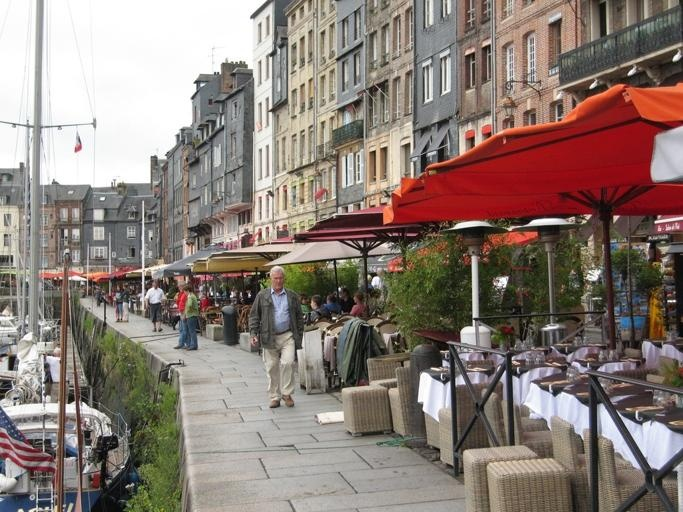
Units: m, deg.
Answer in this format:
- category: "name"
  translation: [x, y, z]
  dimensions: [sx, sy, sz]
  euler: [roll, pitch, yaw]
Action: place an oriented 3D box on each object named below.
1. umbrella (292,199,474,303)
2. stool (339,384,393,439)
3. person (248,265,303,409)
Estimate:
- category: "umbrella"
  translation: [0.041, -0.361, 17.668]
  dimensions: [2.186, 0.962, 2.367]
  euler: [-6, 4, 22]
- category: "stool"
  translation: [0.343, 2.154, 12.945]
  dimensions: [0.730, 0.709, 0.614]
  euler: [-1, 2, -19]
- category: "person"
  translation: [-1.028, 1.344, 14.989]
  dimensions: [0.939, 2.297, 0.541]
  euler: [0, -3, -16]
